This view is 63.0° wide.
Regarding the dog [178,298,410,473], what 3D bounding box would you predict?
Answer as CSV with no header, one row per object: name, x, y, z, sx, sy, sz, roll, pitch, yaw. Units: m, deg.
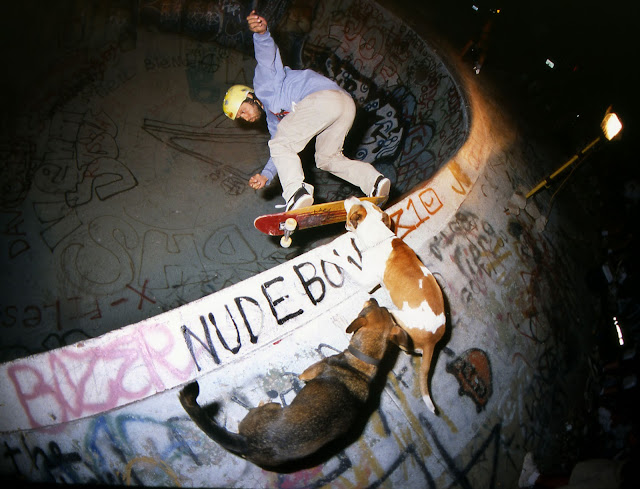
dog,-0.126,2.596,8.959,3.676,2.184,2.259,-15,34,-28

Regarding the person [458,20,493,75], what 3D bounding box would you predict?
person,4.507,-5.505,14.691,0.751,0.509,1.950,35,61,-1
